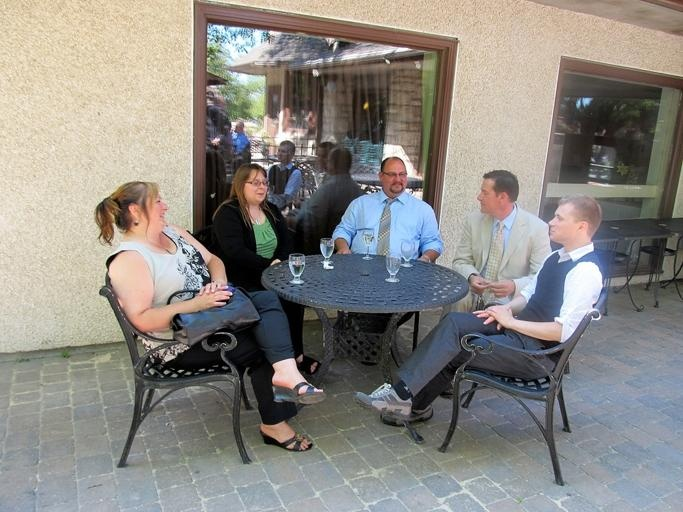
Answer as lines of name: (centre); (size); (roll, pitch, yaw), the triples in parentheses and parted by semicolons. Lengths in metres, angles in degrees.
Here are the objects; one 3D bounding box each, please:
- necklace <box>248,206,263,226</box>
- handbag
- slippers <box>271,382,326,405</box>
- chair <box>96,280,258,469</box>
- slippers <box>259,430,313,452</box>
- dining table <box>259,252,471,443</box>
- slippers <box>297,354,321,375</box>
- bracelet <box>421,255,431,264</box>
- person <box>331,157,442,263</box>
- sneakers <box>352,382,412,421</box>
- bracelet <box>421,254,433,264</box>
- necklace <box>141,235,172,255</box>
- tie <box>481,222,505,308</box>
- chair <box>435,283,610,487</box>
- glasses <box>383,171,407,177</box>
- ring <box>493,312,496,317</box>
necklace: (-0.654, -0.310, 3.741); (0.132, 0.123, 0.031); (27, -47, -35)
handbag: (-0.708, 0.327, 2.678); (0.450, 0.216, 0.225); (-10, 19, -28)
slippers: (-0.243, 0.739, 2.657); (0.260, 0.067, 0.130); (-9, -16, 39)
chair: (-0.916, 0.642, 2.899); (0.787, 0.854, 0.597); (-1, 3, -10)
slippers: (-0.320, 1.070, 2.868); (0.255, 0.057, 0.114); (2, 13, 7)
dining table: (0.130, 0.455, 3.321); (1.339, 0.696, 1.206); (-1, 12, -22)
slippers: (-0.241, 0.803, 3.611); (0.100, 0.059, 0.242); (-27, 39, -30)
bracelet: (0.668, 0.020, 3.813); (0.079, 0.051, 0.073); (-10, 24, -17)
person: (0.340, -0.383, 4.103); (1.051, 0.824, 0.602); (5, 9, 2)
sneakers: (0.249, 0.829, 2.879); (0.424, 0.180, 0.140); (18, -8, -5)
bracelet: (0.671, 0.018, 3.797); (0.077, 0.073, 0.080); (5, -8, 13)
necklace: (-1.047, -0.065, 2.816); (0.154, 0.094, 0.184); (1, 1, -29)
tie: (1.114, 0.075, 3.550); (0.109, 0.622, 0.103); (15, -4, 23)
chair: (1.093, 0.751, 2.923); (0.871, 0.866, 0.720); (2, -12, 41)
glasses: (0.435, -0.644, 3.882); (0.175, 0.045, 0.056); (-4, 17, -10)
ring: (0.895, 0.339, 2.847); (0.026, 0.027, 0.010); (-1, -5, 3)
